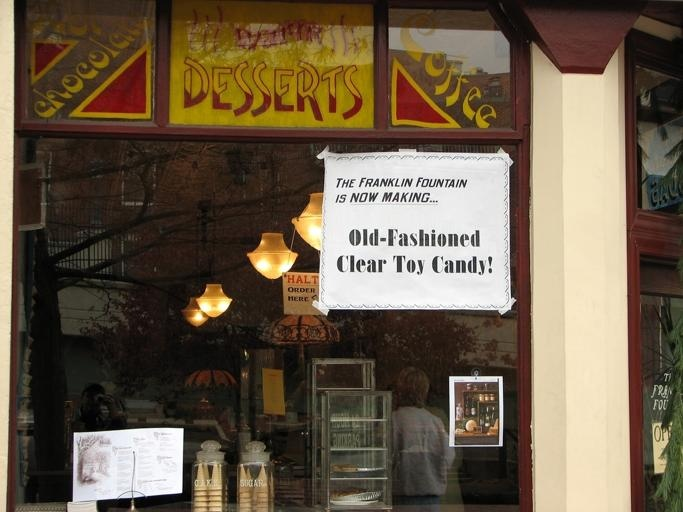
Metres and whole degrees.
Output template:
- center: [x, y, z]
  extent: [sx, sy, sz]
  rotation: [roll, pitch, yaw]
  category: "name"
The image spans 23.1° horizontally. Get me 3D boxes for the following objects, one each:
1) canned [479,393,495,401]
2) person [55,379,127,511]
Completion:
- center: [1.135, 1.102, 13.225]
  extent: [0.094, 0.060, 0.048]
  rotation: [1, 0, 16]
  category: "canned"
- center: [-2.025, 1.451, 14.026]
  extent: [0.239, 0.821, 0.538]
  rotation: [-10, -16, 33]
  category: "person"
